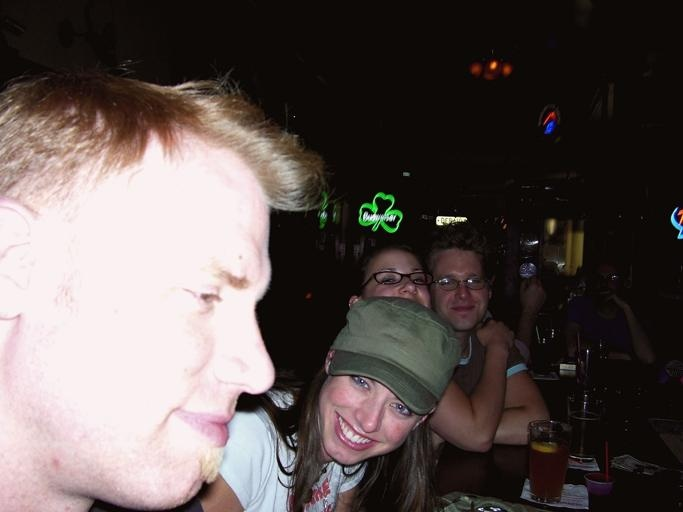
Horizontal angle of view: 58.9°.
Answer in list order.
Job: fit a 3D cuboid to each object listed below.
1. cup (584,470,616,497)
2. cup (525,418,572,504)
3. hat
[{"bbox_3d":[1.351,1.181,3.160,0.132,0.080,0.141,-4,4,0],"label":"cup"},{"bbox_3d":[1.101,1.065,3.178,0.205,0.333,0.357,-2,5,20],"label":"cup"},{"bbox_3d":[0.312,0.456,3.226,0.654,0.445,0.901,20,0,4],"label":"hat"}]
